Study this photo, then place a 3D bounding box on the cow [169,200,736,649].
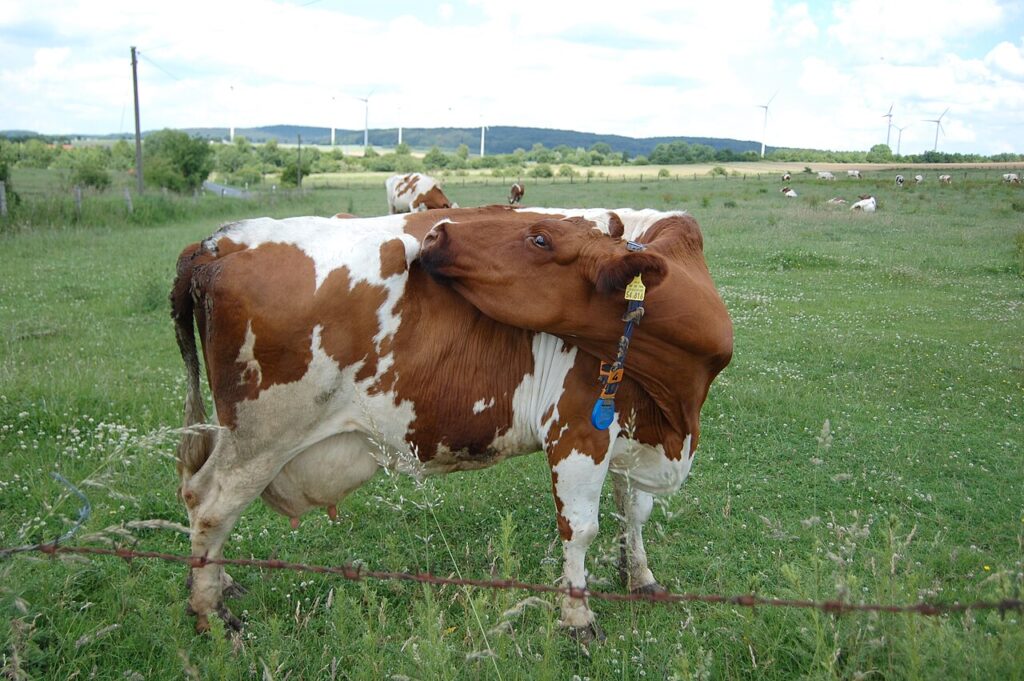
[{"bbox_3d":[-0.485,0.841,8.086,5.104,3.708,2.896,0,-2,8],"label":"cow"}]
